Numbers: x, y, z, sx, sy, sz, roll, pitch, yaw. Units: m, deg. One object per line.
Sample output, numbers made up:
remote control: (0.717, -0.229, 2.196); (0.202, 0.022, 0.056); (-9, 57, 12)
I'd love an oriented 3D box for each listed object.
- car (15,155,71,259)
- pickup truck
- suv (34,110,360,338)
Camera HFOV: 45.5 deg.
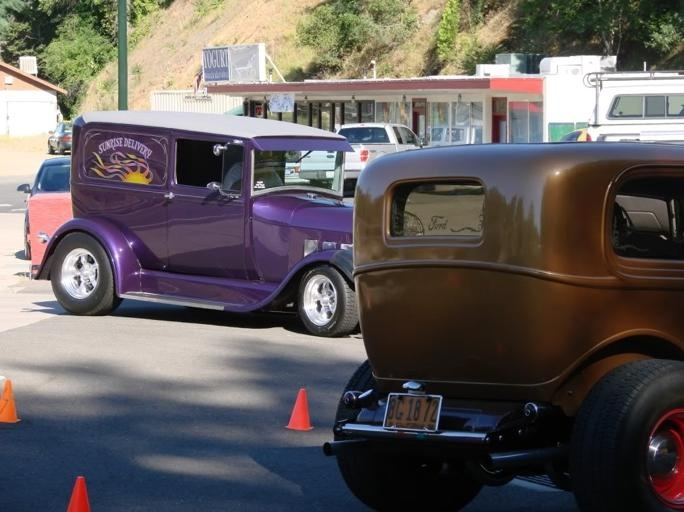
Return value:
car: (-5.511, -0.957, 14.989); (1.328, 1.415, 2.377); (1, 18, -11)
pickup truck: (0.652, -3.372, 26.345); (2.116, 1.720, 4.076); (3, 10, 31)
suv: (-1.766, -0.547, 10.958); (4.228, 2.825, 1.397); (3, 7, 19)
